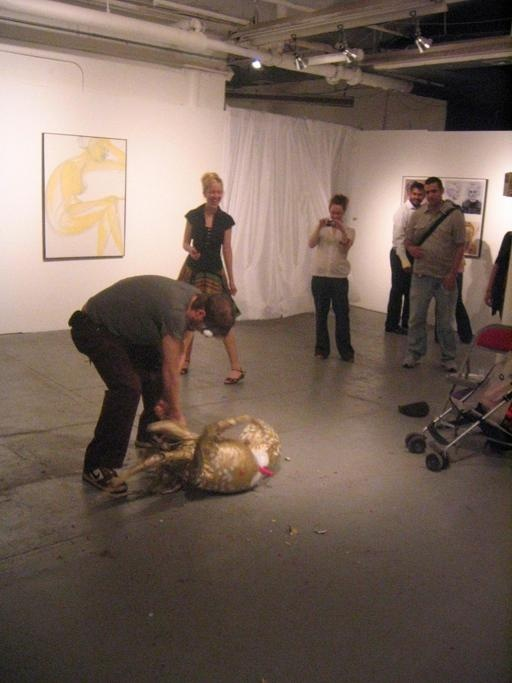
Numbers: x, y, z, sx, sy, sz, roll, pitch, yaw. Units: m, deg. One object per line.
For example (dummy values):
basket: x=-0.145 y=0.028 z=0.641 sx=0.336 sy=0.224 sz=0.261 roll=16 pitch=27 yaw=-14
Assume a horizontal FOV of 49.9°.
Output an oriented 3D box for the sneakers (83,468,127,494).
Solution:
sneakers: x=-0.831 y=0.758 z=3.098 sx=0.300 sy=0.109 sz=0.103 roll=15 pitch=17 yaw=22

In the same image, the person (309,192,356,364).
person: x=0.913 y=-0.753 z=6.460 sx=0.663 sy=1.911 sz=0.349 roll=5 pitch=12 yaw=5

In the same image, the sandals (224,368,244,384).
sandals: x=-0.219 y=0.337 z=5.476 sx=0.097 sy=0.089 sz=0.235 roll=-7 pitch=8 yaw=23

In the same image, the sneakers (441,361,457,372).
sneakers: x=2.205 y=0.271 z=6.273 sx=0.104 sy=0.080 sz=0.215 roll=-4 pitch=3 yaw=-2

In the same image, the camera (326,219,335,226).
camera: x=0.847 y=-1.363 z=6.307 sx=0.125 sy=0.108 sz=0.066 roll=0 pitch=-1 yaw=3

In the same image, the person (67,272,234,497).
person: x=-0.619 y=0.247 z=2.941 sx=0.635 sy=1.196 sz=0.692 roll=-3 pitch=13 yaw=-30
